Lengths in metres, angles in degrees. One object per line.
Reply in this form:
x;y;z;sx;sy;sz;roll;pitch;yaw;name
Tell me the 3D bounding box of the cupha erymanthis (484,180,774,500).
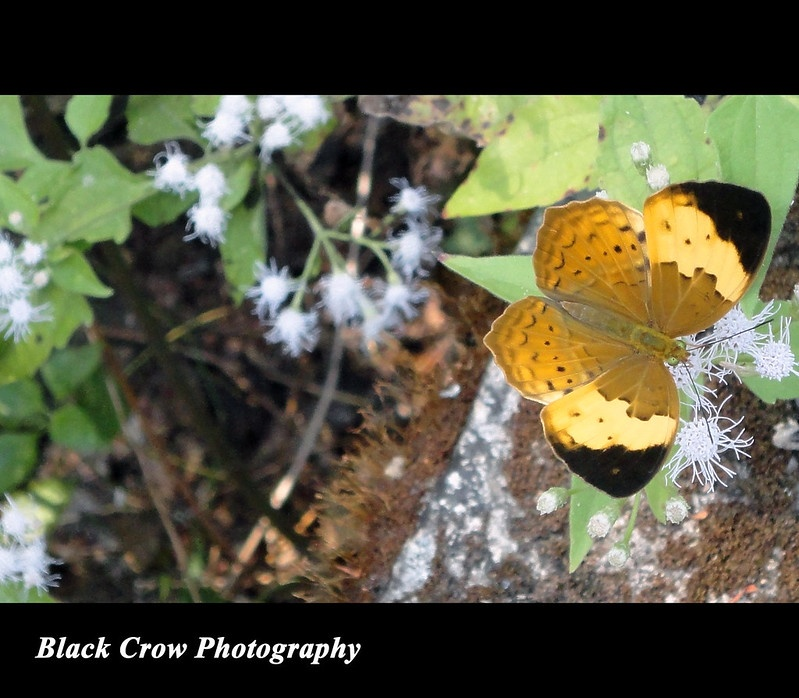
0.356;-0.030;1.680;0.342;0.576;0.140;26;30;3;cupha erymanthis
